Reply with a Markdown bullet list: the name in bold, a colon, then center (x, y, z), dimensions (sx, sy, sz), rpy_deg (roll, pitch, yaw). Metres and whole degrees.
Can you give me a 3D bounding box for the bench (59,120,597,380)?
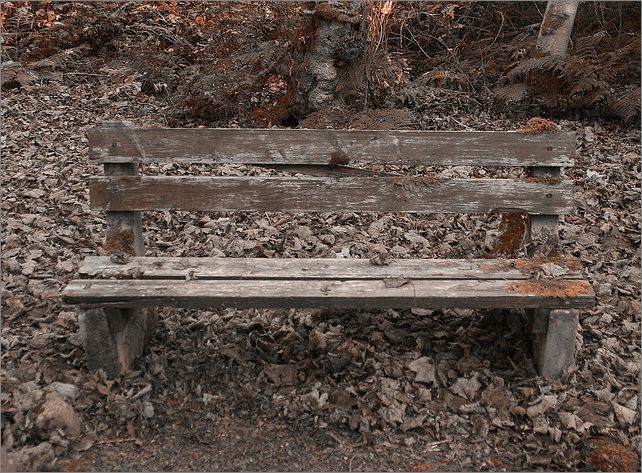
- **bench**: center (0.030, 0.040, 3.877), dimensions (3.560, 1.233, 0.976), rpy_deg (-1, 40, 6)
